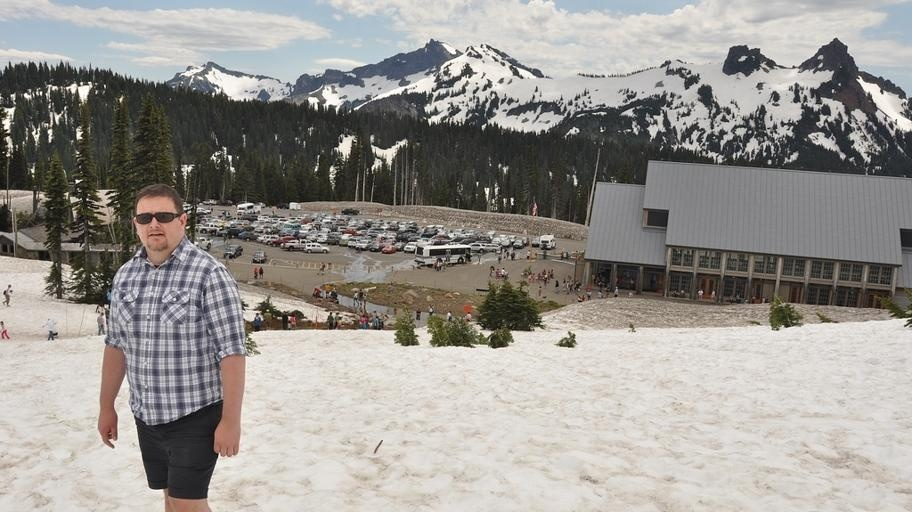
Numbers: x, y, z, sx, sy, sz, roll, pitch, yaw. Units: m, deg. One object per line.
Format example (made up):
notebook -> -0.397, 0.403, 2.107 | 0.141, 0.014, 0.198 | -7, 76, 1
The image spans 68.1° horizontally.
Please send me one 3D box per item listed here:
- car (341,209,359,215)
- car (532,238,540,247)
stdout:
car -> -24.358, -10.073, 154.794 | 2.703, 1.146, 1.767 | 2, 14, 9
car -> 13.883, -2.344, 117.268 | 1.700, 1.288, 3.918 | -1, 1, 9
